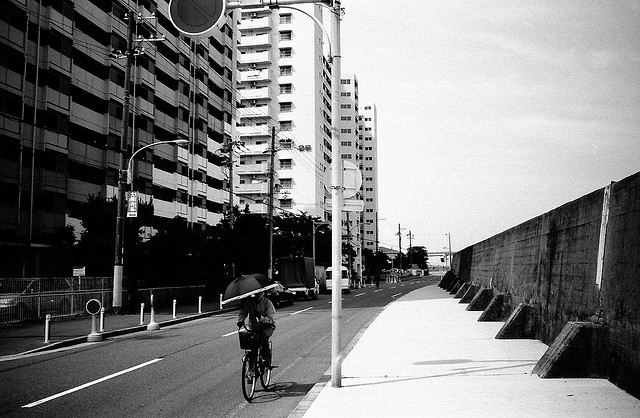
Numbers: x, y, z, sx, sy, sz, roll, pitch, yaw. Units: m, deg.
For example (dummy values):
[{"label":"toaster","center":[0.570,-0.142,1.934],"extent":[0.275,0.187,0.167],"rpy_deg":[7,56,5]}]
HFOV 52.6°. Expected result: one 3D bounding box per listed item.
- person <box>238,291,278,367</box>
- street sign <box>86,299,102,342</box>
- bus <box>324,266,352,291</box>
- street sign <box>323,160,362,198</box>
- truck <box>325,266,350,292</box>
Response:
[{"label":"person","center":[-1.856,3.486,19.738],"extent":[1.015,2.424,1.484],"rpy_deg":[2,10,3]},{"label":"street sign","center":[-9.607,4.678,27.558],"extent":[0.636,1.837,0.682],"rpy_deg":[-1,7,-14]},{"label":"bus","center":[1.969,7.061,68.412],"extent":[3.090,3.397,5.346],"rpy_deg":[0,-2,8]},{"label":"street sign","center":[0.705,-0.986,20.159],"extent":[1.111,1.249,0.590],"rpy_deg":[-5,-9,9]},{"label":"truck","center":[1.779,6.740,66.598],"extent":[2.901,3.378,5.373],"rpy_deg":[0,-5,8]}]
